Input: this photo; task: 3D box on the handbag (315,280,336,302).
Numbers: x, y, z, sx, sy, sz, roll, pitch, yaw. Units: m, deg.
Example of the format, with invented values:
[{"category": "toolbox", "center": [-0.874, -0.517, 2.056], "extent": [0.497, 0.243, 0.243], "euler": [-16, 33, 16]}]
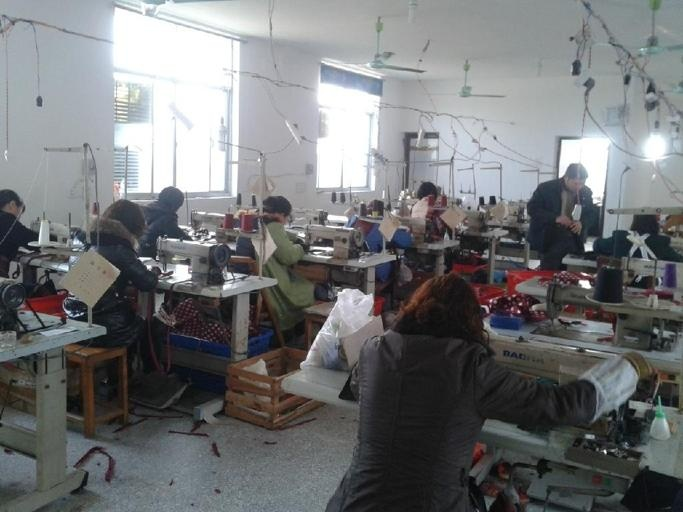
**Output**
[{"category": "handbag", "center": [-0.128, 0.280, 4.667], "extent": [0.130, 0.080, 0.182], "euler": [7, 39, 8]}]

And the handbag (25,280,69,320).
[{"category": "handbag", "center": [-2.097, 0.311, 4.046], "extent": [0.357, 0.188, 0.471], "euler": [4, 6, 2]}]
